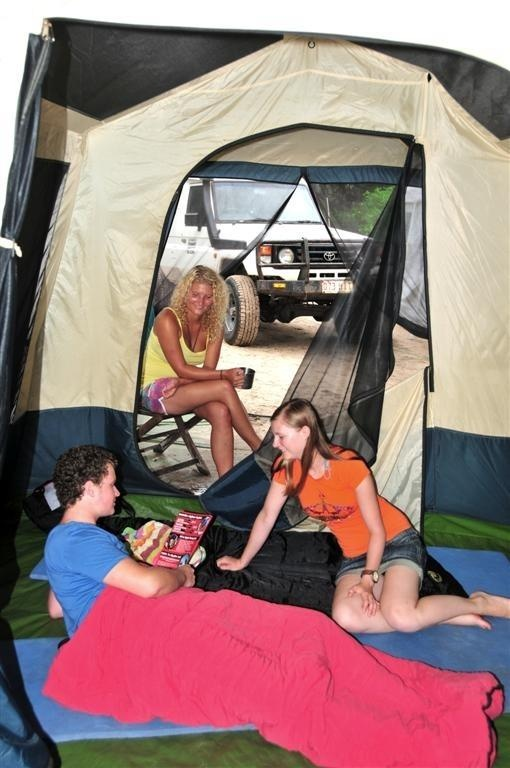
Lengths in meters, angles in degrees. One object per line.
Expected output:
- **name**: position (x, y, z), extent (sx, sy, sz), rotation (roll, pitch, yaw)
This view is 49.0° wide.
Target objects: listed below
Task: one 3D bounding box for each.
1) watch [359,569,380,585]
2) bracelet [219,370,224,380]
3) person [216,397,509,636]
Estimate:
- **watch**: position (0.412, 0.676, 1.958), extent (0.048, 0.033, 0.054), rotation (8, -22, -9)
- **bracelet**: position (-0.195, -0.055, 3.368), extent (0.028, 0.054, 0.079), rotation (5, 5, -8)
- **person**: position (0.311, 0.572, 2.357), extent (1.135, 0.920, 0.560), rotation (-1, -9, 6)
